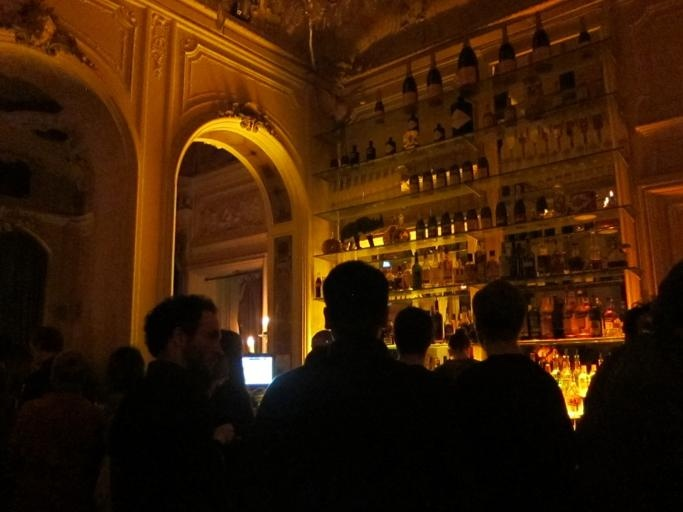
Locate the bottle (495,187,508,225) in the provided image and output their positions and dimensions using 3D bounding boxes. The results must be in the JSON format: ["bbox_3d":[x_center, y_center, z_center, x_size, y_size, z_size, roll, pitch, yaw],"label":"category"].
[{"bbox_3d":[1.441,-0.442,5.342,0.125,0.388,0.197,-3,-11,17],"label":"bottle"}]

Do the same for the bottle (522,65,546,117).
[{"bbox_3d":[1.711,-1.438,5.295,0.162,0.397,0.164,0,-10,0],"label":"bottle"}]

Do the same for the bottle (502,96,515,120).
[{"bbox_3d":[1.531,-1.344,5.403,0.096,0.266,0.104,0,-10,0],"label":"bottle"}]

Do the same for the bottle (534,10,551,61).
[{"bbox_3d":[1.784,-1.933,5.334,0.137,0.535,0.286,-4,-11,20],"label":"bottle"}]

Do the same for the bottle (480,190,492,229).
[{"bbox_3d":[1.325,-0.419,5.446,0.108,0.394,0.225,-3,-11,16],"label":"bottle"}]

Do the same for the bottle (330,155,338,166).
[{"bbox_3d":[-0.093,-1.053,6.647,0.095,0.111,0.094,2,-3,-34],"label":"bottle"}]
